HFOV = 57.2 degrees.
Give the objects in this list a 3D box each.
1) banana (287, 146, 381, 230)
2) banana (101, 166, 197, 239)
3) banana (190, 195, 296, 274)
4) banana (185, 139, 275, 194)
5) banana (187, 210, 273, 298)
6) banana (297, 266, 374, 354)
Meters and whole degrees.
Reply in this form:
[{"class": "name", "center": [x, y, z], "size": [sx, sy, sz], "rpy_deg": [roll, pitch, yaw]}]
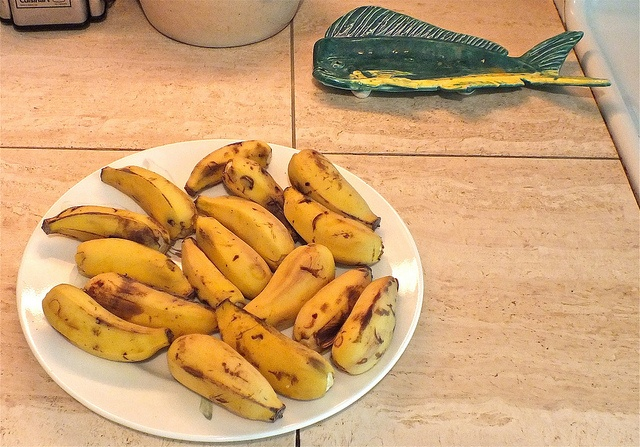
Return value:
[{"class": "banana", "center": [0.003, -0.058, 0.768], "size": [0.147, 0.049, 0.059], "rpy_deg": [41, 69, 11]}, {"class": "banana", "center": [-0.214, -0.035, 0.757], "size": [0.129, 0.046, 0.063], "rpy_deg": [40, 67, 16]}, {"class": "banana", "center": [-0.097, 0.004, 0.727], "size": [0.124, 0.048, 0.059], "rpy_deg": [39, 57, 11]}, {"class": "banana", "center": [-0.110, -0.075, 0.754], "size": [0.109, 0.038, 0.056], "rpy_deg": [-30, 74, -14]}, {"class": "banana", "center": [-0.106, 0.033, 0.718], "size": [0.053, 0.044, 0.116], "rpy_deg": [-40, 78, -25]}, {"class": "banana", "center": [0.012, 0.090, 0.649], "size": [0.048, 0.041, 0.107], "rpy_deg": [46, 63, -12]}]
